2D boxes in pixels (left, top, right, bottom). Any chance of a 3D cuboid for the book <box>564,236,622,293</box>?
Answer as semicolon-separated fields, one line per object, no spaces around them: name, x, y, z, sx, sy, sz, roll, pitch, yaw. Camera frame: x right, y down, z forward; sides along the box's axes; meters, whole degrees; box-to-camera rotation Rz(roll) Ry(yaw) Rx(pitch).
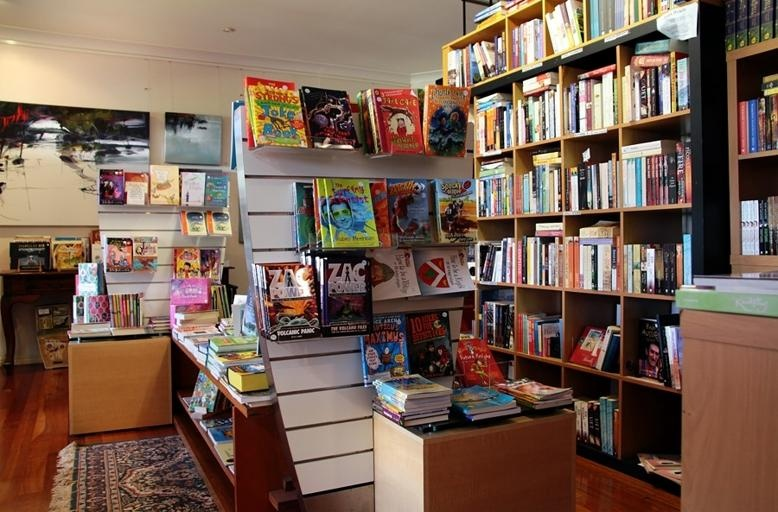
book;1.466;0.054;4.008;0.092;0.376;0.429;-5;7;-36

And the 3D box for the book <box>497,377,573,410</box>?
book;0.723;0.690;2.782;0.173;0.063;0.224;-1;5;-32

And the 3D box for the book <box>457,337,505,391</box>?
book;0.487;0.577;2.950;0.254;0.244;0.059;-12;-19;-25

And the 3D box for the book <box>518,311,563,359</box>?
book;1.197;0.591;4.424;0.423;0.387;0.284;-1;-1;34

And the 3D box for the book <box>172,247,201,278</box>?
book;-1.856;0.074;5.002;0.275;0.336;0.035;2;-9;-18

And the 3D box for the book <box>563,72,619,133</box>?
book;1.472;-1.087;3.982;0.382;0.472;0.511;0;0;34

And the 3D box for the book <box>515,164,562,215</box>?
book;1.198;-0.478;4.362;0.325;0.404;0.430;-2;2;-41

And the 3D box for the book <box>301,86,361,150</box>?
book;-0.297;-0.666;2.723;0.361;0.383;0.070;1;-21;-28

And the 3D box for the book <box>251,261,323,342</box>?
book;-0.536;0.223;2.743;0.362;0.462;0.357;-3;-4;-20

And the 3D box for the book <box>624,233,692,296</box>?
book;1.777;0.043;3.721;0.333;0.411;0.446;0;1;-23

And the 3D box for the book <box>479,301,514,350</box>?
book;0.919;0.560;4.710;0.322;0.396;0.427;0;-2;9

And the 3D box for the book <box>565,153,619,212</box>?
book;1.482;-0.513;4.011;0.255;0.447;0.471;1;-2;-37

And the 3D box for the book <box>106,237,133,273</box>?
book;-2.369;-0.007;4.795;0.310;0.395;0.046;2;-5;-29

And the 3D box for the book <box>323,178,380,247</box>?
book;-0.198;-0.199;2.670;0.361;0.436;0.061;0;-17;-32

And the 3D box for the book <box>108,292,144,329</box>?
book;-2.187;0.448;4.616;0.264;0.336;0.341;0;1;-17

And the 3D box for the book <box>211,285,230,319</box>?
book;-1.455;0.403;4.704;0.148;0.243;0.268;-7;4;-26

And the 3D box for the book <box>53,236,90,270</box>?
book;-3.870;-0.033;6.647;0.387;0.371;0.265;-4;7;-30

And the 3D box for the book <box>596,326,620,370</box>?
book;1.569;0.667;3.923;0.130;0.317;0.304;7;-2;15

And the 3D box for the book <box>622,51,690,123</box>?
book;1.784;-1.129;3.678;0.095;0.447;0.446;-6;8;-42

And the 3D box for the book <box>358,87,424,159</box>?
book;0.002;-0.662;2.769;0.324;0.297;0.177;-8;-5;-26

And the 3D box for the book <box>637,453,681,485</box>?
book;1.810;1.387;3.651;0.275;0.061;0.269;2;5;17

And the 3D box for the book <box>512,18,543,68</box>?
book;1.114;-1.638;4.505;0.323;0.397;0.424;0;1;17

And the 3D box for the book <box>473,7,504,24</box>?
book;0.820;-2.019;4.631;0.216;0.050;0.197;-26;13;-16

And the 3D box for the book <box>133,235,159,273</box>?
book;-2.154;-0.017;4.892;0.115;0.298;0.251;5;8;40

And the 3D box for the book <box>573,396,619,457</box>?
book;1.497;1.185;3.959;0.084;0.382;0.354;-5;7;-36

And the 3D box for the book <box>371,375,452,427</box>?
book;0.096;0.677;2.657;0.217;0.117;0.270;0;4;-29

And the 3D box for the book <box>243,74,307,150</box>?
book;-0.541;-0.686;2.654;0.275;0.324;0.123;-1;6;-8
